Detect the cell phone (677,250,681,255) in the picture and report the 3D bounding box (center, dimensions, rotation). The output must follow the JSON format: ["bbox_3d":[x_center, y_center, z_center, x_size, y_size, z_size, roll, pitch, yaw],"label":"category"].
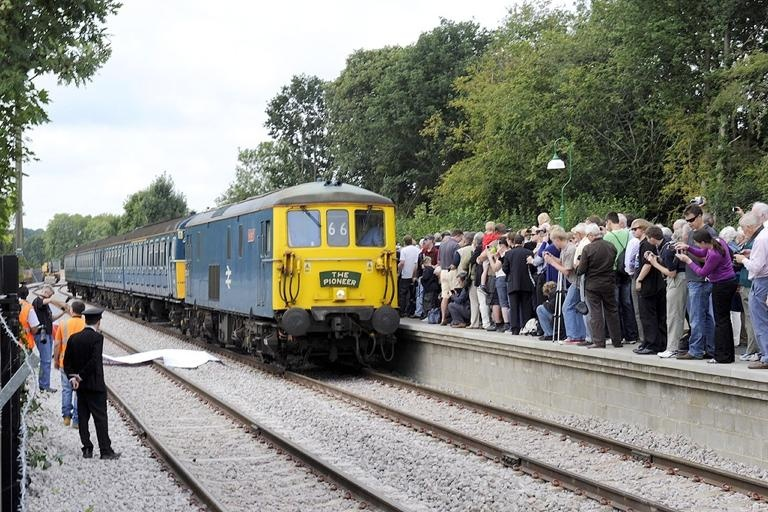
[{"bbox_3d":[4.831,-0.059,11.266,0.090,0.062,0.040,-1,2,23],"label":"cell phone"}]

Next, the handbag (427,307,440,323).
[{"bbox_3d":[1.277,1.569,17.569,0.259,0.401,0.383,2,-36,-2],"label":"handbag"}]

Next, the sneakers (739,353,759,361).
[{"bbox_3d":[5.852,1.608,11.051,0.255,0.110,0.428,-1,2,23],"label":"sneakers"}]

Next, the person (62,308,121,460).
[{"bbox_3d":[-4.639,2.022,10.906,0.716,2.363,0.724,-3,3,-27],"label":"person"}]
